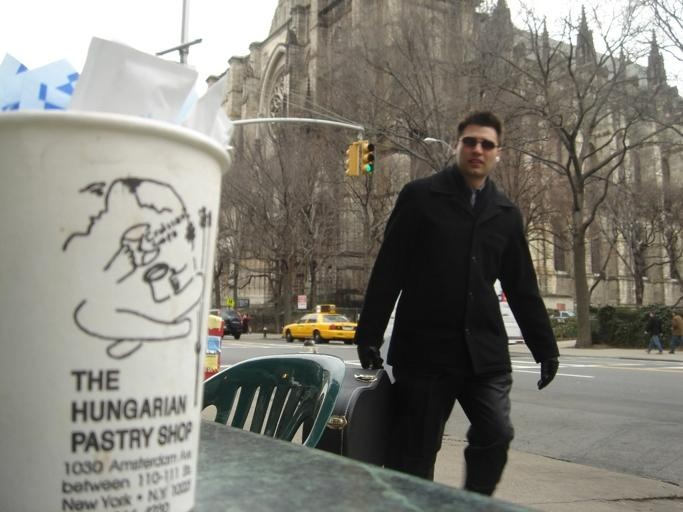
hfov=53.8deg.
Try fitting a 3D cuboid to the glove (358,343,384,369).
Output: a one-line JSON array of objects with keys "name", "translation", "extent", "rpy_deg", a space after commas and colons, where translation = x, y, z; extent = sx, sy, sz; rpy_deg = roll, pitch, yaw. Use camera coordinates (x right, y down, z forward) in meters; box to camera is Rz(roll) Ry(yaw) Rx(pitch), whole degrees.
[{"name": "glove", "translation": [0.120, 0.389, 2.625], "extent": [0.093, 0.151, 0.080], "rpy_deg": [-2, 0, 13]}]

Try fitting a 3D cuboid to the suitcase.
[{"name": "suitcase", "translation": [0.012, 0.507, 2.150], "extent": [0.141, 0.490, 0.357], "rpy_deg": [0, -13, 29]}]

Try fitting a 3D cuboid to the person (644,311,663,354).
[{"name": "person", "translation": [10.792, 2.582, 23.105], "extent": [0.519, 1.426, 2.310], "rpy_deg": [-2, -6, 25]}]
